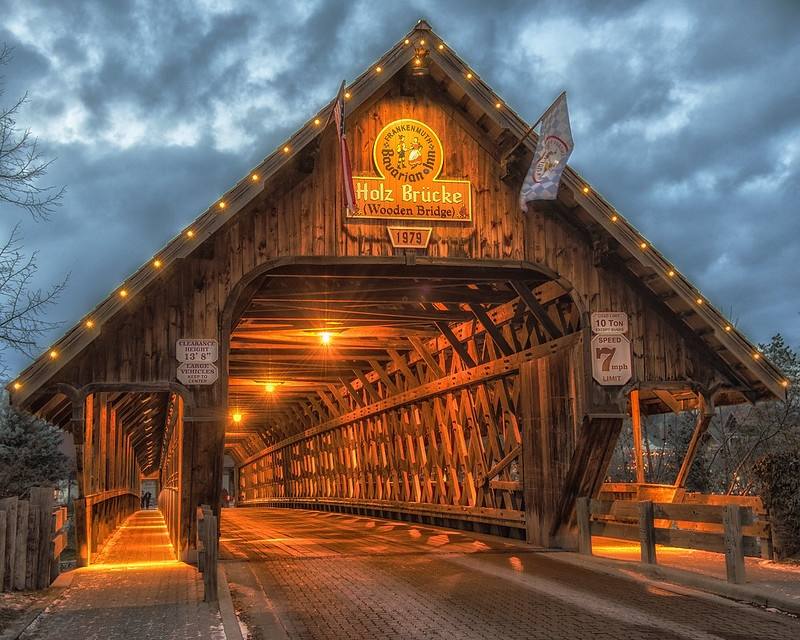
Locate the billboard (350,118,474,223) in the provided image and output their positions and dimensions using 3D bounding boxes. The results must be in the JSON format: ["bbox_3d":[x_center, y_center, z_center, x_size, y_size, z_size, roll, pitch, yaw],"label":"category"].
[{"bbox_3d":[0.146,-2.990,13.567,1.907,1.833,0.084,2,-14,-14],"label":"billboard"}]

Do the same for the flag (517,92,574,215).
[{"bbox_3d":[2.827,-3.205,12.847,0.954,2.646,0.204,-2,-23,23],"label":"flag"}]

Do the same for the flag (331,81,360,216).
[{"bbox_3d":[-1.037,-3.061,12.488,0.164,2.331,1.059,-11,25,-18],"label":"flag"}]

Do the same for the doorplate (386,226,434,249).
[{"bbox_3d":[0.181,-1.652,13.332,0.906,0.491,0.067,4,-13,-10],"label":"doorplate"}]

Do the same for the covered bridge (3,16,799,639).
[{"bbox_3d":[-1.656,0.700,24.002,12.112,8.668,23.722,1,-7,-14],"label":"covered bridge"}]

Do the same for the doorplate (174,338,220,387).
[{"bbox_3d":[-3.826,0.799,12.479,0.736,0.969,0.032,0,26,-18],"label":"doorplate"}]
